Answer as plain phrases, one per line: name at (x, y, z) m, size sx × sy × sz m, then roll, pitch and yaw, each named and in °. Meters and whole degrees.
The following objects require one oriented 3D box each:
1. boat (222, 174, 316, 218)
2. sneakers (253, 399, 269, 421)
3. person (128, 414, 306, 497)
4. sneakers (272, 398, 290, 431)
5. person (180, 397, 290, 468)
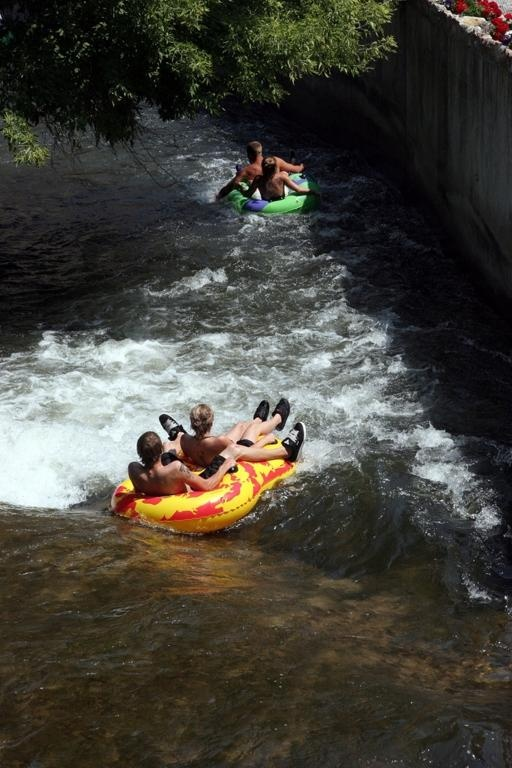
boat at (0.279, -3.283, 13.537) m, size 1.498 × 0.656 × 0.717 m, roll 1°, pitch 10°, yaw 0°
sneakers at (0.052, 0.250, 7.906) m, size 0.101 × 0.254 × 0.096 m, roll 9°, pitch -20°, yaw 25°
person at (-0.383, 0.605, 7.104) m, size 1.437 × 0.617 × 0.627 m, roll -22°, pitch 21°, yaw -25°
sneakers at (0.274, 0.284, 8.005) m, size 0.138 × 0.353 × 0.149 m, roll 4°, pitch -14°, yaw 35°
person at (-0.200, 0.359, 7.423) m, size 0.619 × 0.516 × 0.856 m, roll 24°, pitch 46°, yaw 37°
